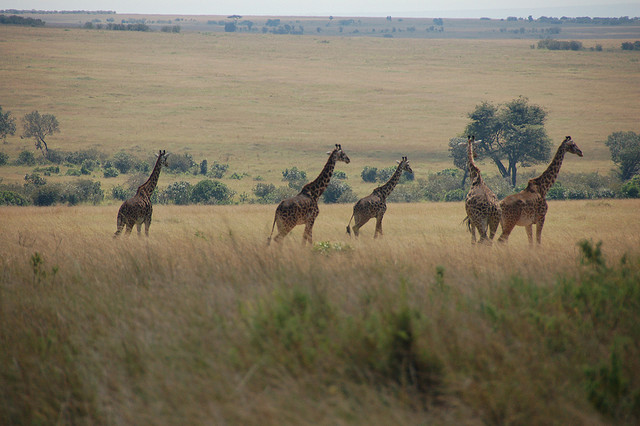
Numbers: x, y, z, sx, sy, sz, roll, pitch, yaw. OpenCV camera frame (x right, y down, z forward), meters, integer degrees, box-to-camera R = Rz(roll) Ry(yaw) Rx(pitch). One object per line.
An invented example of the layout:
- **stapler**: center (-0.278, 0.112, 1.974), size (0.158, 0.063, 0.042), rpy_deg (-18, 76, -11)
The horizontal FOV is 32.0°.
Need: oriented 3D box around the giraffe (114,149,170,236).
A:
- **giraffe**: center (-17.192, -1.772, 106.463), size (4.763, 8.365, 2.516), rpy_deg (-9, 14, -41)
